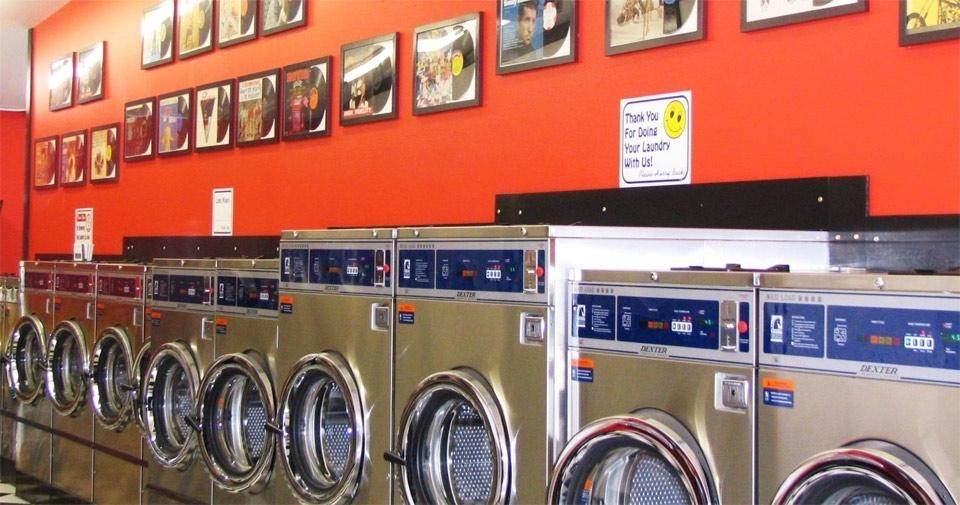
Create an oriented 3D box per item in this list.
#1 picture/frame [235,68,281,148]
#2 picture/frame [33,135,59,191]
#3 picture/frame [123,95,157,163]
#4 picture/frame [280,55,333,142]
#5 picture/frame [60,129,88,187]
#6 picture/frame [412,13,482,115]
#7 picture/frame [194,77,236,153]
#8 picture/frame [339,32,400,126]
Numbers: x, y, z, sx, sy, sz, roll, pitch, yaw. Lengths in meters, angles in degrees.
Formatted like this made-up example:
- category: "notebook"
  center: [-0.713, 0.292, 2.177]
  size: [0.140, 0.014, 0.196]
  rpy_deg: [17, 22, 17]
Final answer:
- category: "picture/frame"
  center: [-1.956, -1.280, 6.226]
  size: [0.795, 0.830, 0.037]
  rpy_deg: [1, 0, 44]
- category: "picture/frame"
  center: [-5.207, -1.067, 8.424]
  size: [0.729, 0.711, 0.074]
  rpy_deg: [-1, -2, 44]
- category: "picture/frame"
  center: [-3.496, -1.271, 7.224]
  size: [0.747, 0.846, 0.087]
  rpy_deg: [-1, -3, 43]
- category: "picture/frame"
  center: [-1.441, -1.287, 5.889]
  size: [0.793, 0.806, 0.081]
  rpy_deg: [-2, -5, 38]
- category: "picture/frame"
  center: [-4.645, -1.081, 8.033]
  size: [0.720, 0.794, 0.057]
  rpy_deg: [-1, -2, 43]
- category: "picture/frame"
  center: [-0.219, -1.381, 5.127]
  size: [0.838, 0.854, 0.039]
  rpy_deg: [0, -1, 39]
- category: "picture/frame"
  center: [-2.470, -1.285, 6.562]
  size: [0.758, 0.737, 0.077]
  rpy_deg: [-3, -4, 45]
- category: "picture/frame"
  center: [-0.850, -1.369, 5.523]
  size: [0.822, 0.846, 0.060]
  rpy_deg: [-1, -1, 40]
